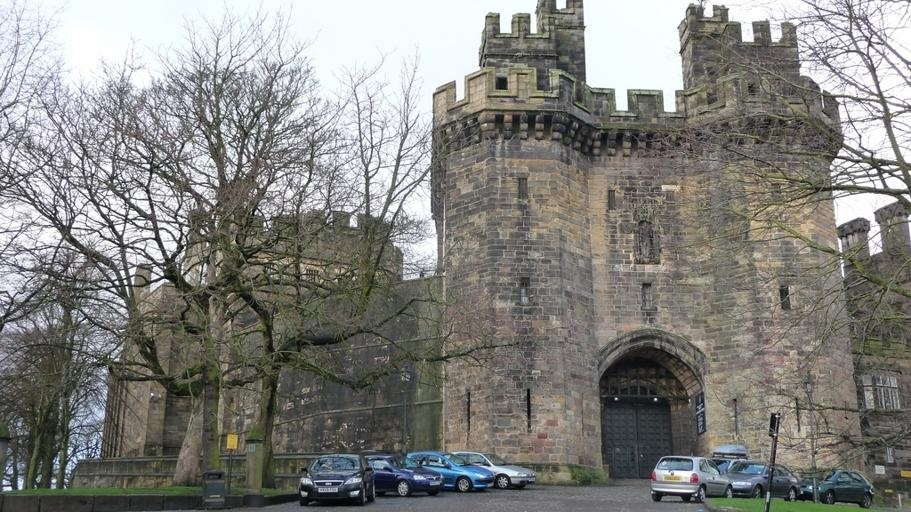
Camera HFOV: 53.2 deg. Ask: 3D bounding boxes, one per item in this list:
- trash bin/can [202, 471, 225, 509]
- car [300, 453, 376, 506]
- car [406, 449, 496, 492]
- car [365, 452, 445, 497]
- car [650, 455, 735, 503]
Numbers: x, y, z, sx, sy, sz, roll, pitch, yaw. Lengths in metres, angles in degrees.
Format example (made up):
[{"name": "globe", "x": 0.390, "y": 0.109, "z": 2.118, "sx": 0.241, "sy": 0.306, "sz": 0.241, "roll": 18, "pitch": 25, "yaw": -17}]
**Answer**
[{"name": "trash bin/can", "x": -9.291, "y": 8.950, "z": 35.118, "sx": 0.918, "sy": 1.433, "sz": 0.729, "roll": 6, "pitch": -19, "yaw": -16}, {"name": "car", "x": -4.715, "y": 8.847, "z": 36.245, "sx": 2.828, "sy": 2.044, "sz": 1.639, "roll": 3, "pitch": -19, "yaw": -9}, {"name": "car", "x": -0.224, "y": 9.566, "z": 40.832, "sx": 3.481, "sy": 1.197, "sz": 1.746, "roll": -4, "pitch": -9, "yaw": 21}, {"name": "car", "x": -2.266, "y": 9.485, "z": 39.363, "sx": 4.416, "sy": 1.624, "sz": 1.812, "roll": -9, "pitch": -14, "yaw": 39}, {"name": "car", "x": 10.110, "y": 9.388, "z": 38.814, "sx": 1.798, "sy": 1.368, "sz": 3.115, "roll": -9, "pitch": -14, "yaw": 40}]
